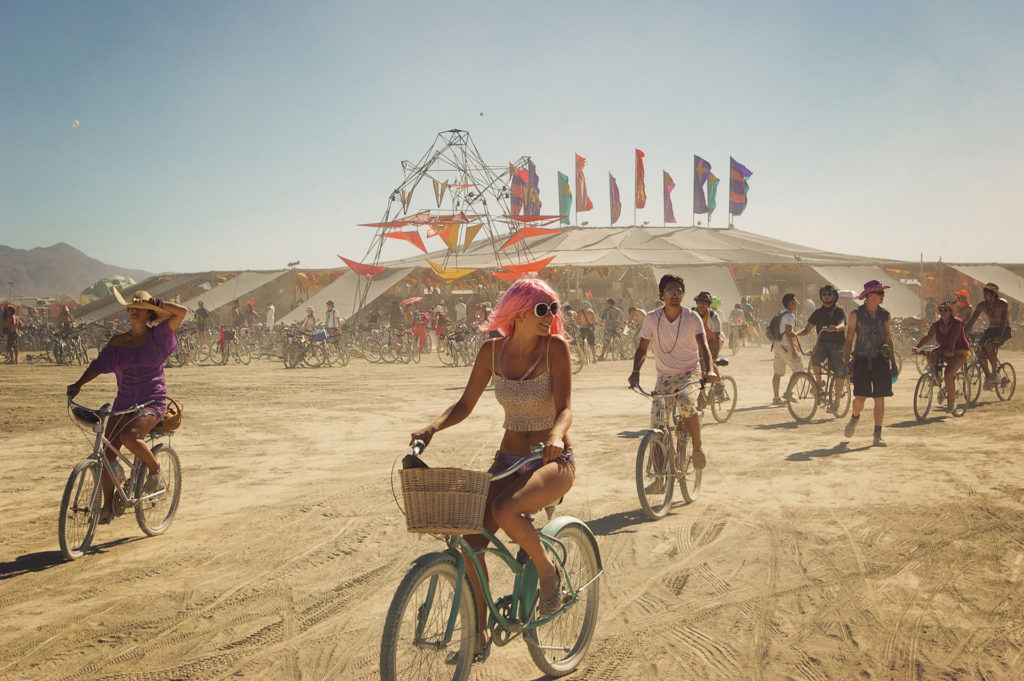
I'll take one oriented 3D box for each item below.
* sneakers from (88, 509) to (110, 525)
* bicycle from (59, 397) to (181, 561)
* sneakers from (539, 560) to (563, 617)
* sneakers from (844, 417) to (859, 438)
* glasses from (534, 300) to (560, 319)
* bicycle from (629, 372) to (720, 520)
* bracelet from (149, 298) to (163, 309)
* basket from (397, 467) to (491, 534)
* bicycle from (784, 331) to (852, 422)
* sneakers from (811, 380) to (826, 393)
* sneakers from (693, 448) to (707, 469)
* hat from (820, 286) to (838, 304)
[{"bbox_3d":[-4.319,1.858,7.128,0.105,0.153,0.216,0,-12,-1],"label":"sneakers"},{"bbox_3d":[-4.147,1.373,7.229,0.775,1.551,1.308,1,5,16],"label":"bicycle"},{"bbox_3d":[0.271,1.787,4.828,0.131,0.397,0.101,0,7,11],"label":"sneakers"},{"bbox_3d":[5.586,1.464,11.206,0.097,0.305,0.196,16,-1,37],"label":"sneakers"},{"bbox_3d":[0.262,-0.222,4.930,0.215,0.114,0.086,-3,6,-30],"label":"glasses"},{"bbox_3d":[1.840,1.230,8.006,0.540,1.519,1.272,3,6,34],"label":"bicycle"},{"bbox_3d":[-3.737,-0.382,7.131,0.106,0.089,0.144,-1,-4,-11],"label":"bracelet"},{"bbox_3d":[-0.444,1.095,4.563,0.426,0.312,0.495,2,-16,-4],"label":"basket"},{"bbox_3d":[5.704,0.913,12.875,0.951,1.246,1.917,-3,-6,40],"label":"bicycle"},{"bbox_3d":[5.646,0.850,12.521,0.122,0.253,0.480,3,6,38],"label":"sneakers"},{"bbox_3d":[2.250,1.393,8.096,0.069,0.276,0.187,-13,5,1],"label":"sneakers"},{"bbox_3d":[5.618,-0.828,12.138,0.268,0.372,0.356,-2,-12,19],"label":"hat"}]
